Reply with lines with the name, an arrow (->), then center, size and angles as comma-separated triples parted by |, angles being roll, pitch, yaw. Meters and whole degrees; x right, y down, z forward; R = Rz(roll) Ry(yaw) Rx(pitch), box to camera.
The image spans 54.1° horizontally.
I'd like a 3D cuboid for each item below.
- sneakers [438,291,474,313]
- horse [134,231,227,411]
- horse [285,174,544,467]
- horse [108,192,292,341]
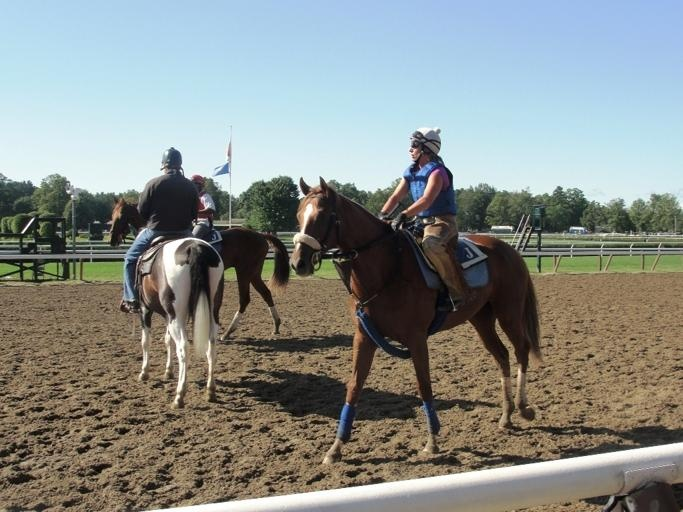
sneakers -> 1.188, 0.477, 7.162 | 0.295, 0.121, 0.219 | -1, 0, -25
horse -> -2.463, 0.697, 9.623 | 0.882, 2.526, 3.229 | -1, 0, -30
horse -> 0.885, 0.568, 7.303 | 3.104, 2.888, 0.895 | -6, 12, -30
horse -> -2.494, 0.226, 11.837 | 3.184, 2.422, 0.869 | 3, -1, -18
